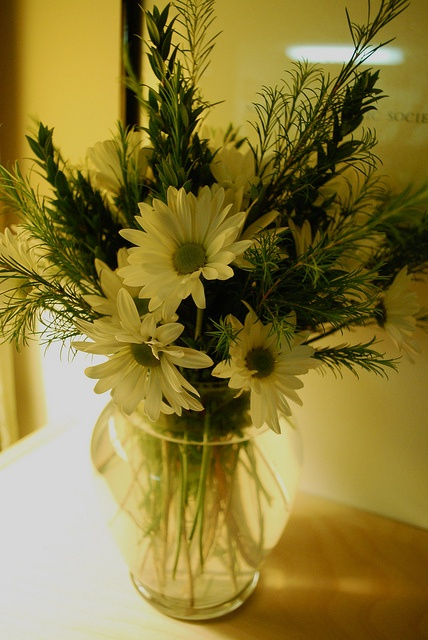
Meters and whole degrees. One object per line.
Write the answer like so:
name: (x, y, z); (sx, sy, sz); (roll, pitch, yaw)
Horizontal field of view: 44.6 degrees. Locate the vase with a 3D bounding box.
vase: (-0.013, 0.204, 0.646); (0.203, 0.205, 0.248); (2, -87, -24)
